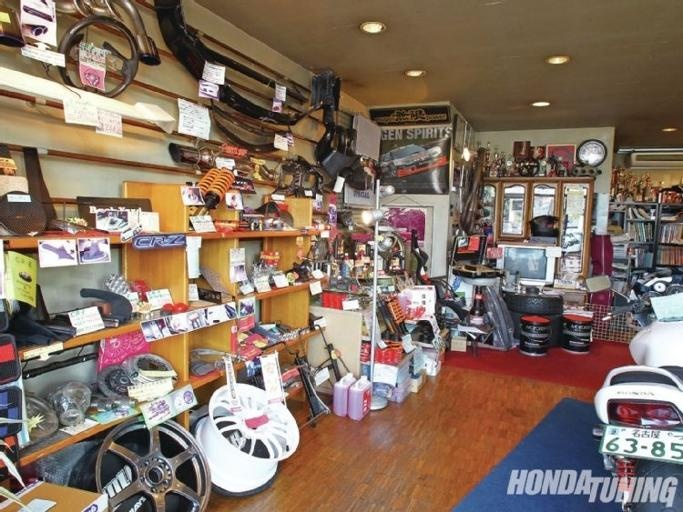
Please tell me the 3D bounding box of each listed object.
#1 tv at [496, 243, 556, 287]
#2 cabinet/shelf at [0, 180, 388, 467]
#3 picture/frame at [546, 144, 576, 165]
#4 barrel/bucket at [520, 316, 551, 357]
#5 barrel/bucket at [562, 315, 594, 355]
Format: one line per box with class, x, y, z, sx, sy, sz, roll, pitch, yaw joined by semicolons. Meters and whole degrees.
tv;2.549;0.150;6.558;0.870;0.600;0.413;4;-4;-5
cabinet/shelf;-0.900;0.448;2.796;0.317;1.001;2.214;1;3;28
picture/frame;3.156;-1.455;6.497;0.402;0.336;0.040;2;0;24
barrel/bucket;2.165;0.878;5.171;0.433;0.392;0.423;-2;5;0
barrel/bucket;2.741;0.885;5.264;0.407;0.381;0.378;5;-2;0
